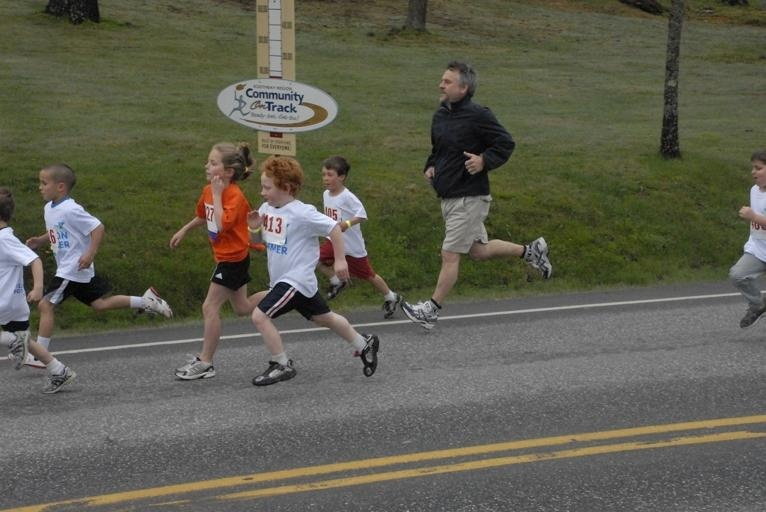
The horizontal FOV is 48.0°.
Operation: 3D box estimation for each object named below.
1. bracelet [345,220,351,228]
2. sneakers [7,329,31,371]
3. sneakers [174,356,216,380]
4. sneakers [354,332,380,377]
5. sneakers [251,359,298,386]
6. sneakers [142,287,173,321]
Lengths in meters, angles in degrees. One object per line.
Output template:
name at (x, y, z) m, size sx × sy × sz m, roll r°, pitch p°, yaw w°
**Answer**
bracelet at (-0.487, -0.423, 11.775) m, size 0.028 × 0.085 × 0.095 m, roll -21°, pitch -7°, yaw 2°
sneakers at (-4.198, 1.052, 9.802) m, size 0.189 × 0.449 × 0.242 m, roll 21°, pitch 29°, yaw 40°
sneakers at (-2.221, 1.352, 10.338) m, size 0.564 × 0.255 × 0.211 m, roll 1°, pitch -2°, yaw -8°
sneakers at (-0.160, 1.173, 10.217) m, size 0.285 × 0.541 × 0.209 m, roll 9°, pitch -10°, yaw -43°
sneakers at (-1.219, 1.337, 9.955) m, size 0.665 × 0.253 × 0.215 m, roll -11°, pitch 6°, yaw -21°
sneakers at (-3.144, 0.694, 11.976) m, size 0.202 × 0.565 × 0.246 m, roll -42°, pitch 23°, yaw 27°
